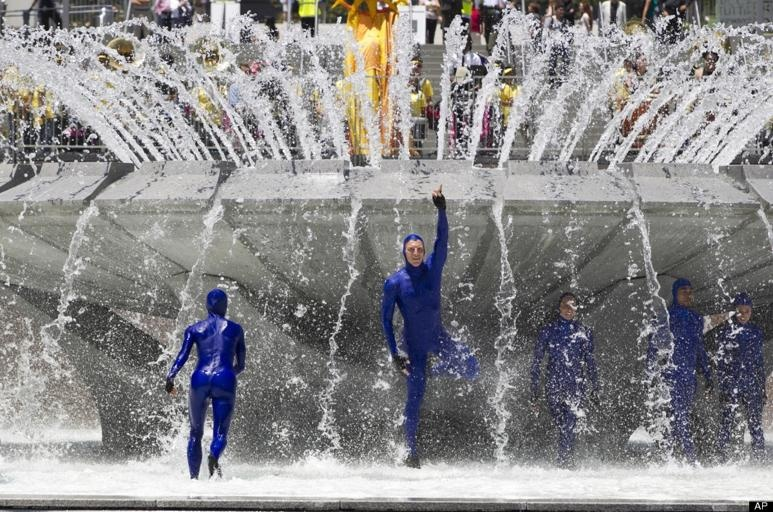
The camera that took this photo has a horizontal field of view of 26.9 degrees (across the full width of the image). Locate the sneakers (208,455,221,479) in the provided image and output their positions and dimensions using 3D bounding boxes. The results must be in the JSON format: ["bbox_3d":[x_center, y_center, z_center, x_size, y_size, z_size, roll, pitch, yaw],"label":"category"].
[{"bbox_3d":[-2.308,2.885,22.014,0.115,0.152,0.377,-4,100,3],"label":"sneakers"}]

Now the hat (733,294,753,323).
[{"bbox_3d":[5.331,0.773,24.315,0.269,0.398,0.392,-2,99,4],"label":"hat"}]

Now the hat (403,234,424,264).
[{"bbox_3d":[0.404,-0.125,22.414,0.300,0.368,0.481,-1,90,-6],"label":"hat"}]

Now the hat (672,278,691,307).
[{"bbox_3d":[4.404,0.529,24.042,0.300,0.359,0.481,1,90,-10],"label":"hat"}]
